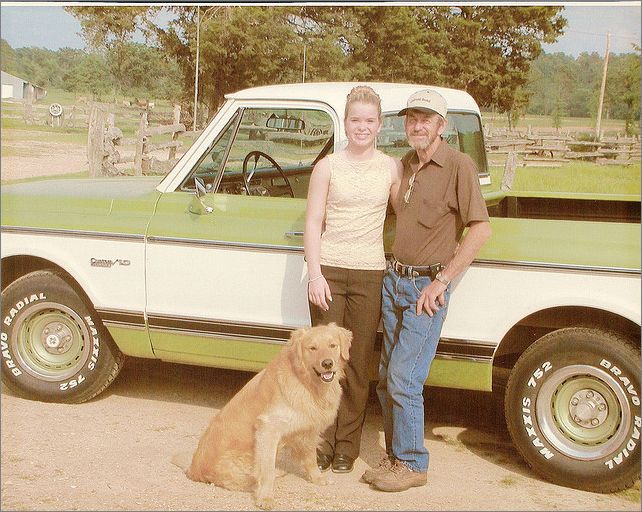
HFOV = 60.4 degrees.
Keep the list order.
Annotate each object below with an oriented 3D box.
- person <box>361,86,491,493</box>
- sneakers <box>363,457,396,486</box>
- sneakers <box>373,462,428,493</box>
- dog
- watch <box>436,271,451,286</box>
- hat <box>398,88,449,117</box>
[{"bbox_3d":[0.678,0.251,3.547,0.679,2.629,0.398,5,8,16],"label":"person"},{"bbox_3d":[0.418,1.441,3.724,0.104,0.140,0.313,-2,-4,42],"label":"sneakers"},{"bbox_3d":[0.517,1.460,3.680,0.390,0.188,0.147,0,-1,-13],"label":"sneakers"},{"bbox_3d":[-0.147,1.018,3.730,1.369,1.077,0.687,-2,-6,30],"label":"dog"},{"bbox_3d":[0.744,0.142,3.389,0.078,0.080,0.084,-21,51,-1],"label":"watch"},{"bbox_3d":[0.666,-0.978,3.474,0.233,0.208,0.294,8,8,40],"label":"hat"}]
